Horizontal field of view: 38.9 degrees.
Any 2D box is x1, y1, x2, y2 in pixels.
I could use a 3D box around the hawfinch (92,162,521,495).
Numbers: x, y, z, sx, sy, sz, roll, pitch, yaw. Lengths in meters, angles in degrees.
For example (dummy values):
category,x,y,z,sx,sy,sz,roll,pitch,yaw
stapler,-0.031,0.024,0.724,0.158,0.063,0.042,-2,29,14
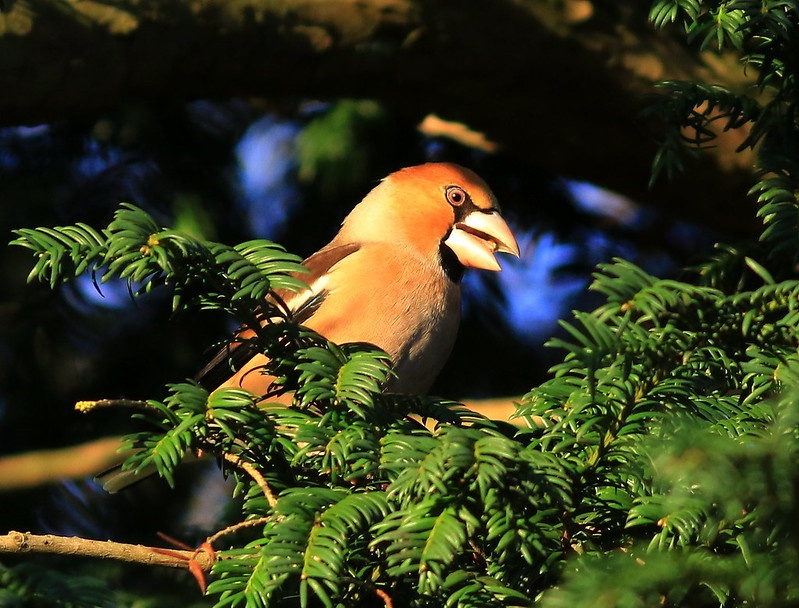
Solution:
category,x,y,z,sx,sy,sz,roll,pitch,yaw
hawfinch,-0.119,-0.033,3.371,1.088,0.824,0.523,9,17,37
